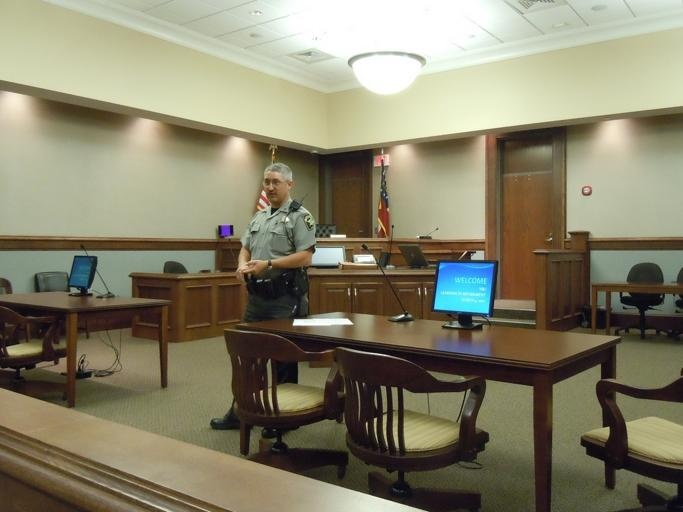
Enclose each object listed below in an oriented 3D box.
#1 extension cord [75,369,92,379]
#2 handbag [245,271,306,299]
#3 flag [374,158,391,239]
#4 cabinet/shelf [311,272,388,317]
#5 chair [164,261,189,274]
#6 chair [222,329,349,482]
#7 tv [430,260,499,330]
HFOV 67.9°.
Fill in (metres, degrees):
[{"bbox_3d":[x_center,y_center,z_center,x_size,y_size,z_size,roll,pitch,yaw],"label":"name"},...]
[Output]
[{"bbox_3d":[-2.357,1.083,4.671,0.113,0.050,0.112,0,-3,2],"label":"extension cord"},{"bbox_3d":[-0.413,0.158,3.275,0.257,0.125,0.213,-3,3,-4],"label":"handbag"},{"bbox_3d":[0.843,-1.191,9.905,0.276,1.672,0.472,1,-2,4],"label":"flag"},{"bbox_3d":[0.061,0.257,5.844,0.832,0.758,0.447,0,4,-3],"label":"cabinet/shelf"},{"bbox_3d":[-2.318,0.176,7.125,0.235,0.299,0.259,3,-6,-37],"label":"chair"},{"bbox_3d":[-0.276,0.756,2.679,0.654,0.772,0.676,1,-1,0],"label":"chair"},{"bbox_3d":[0.701,0.220,2.886,0.219,0.382,0.398,-4,3,-45],"label":"tv"}]
